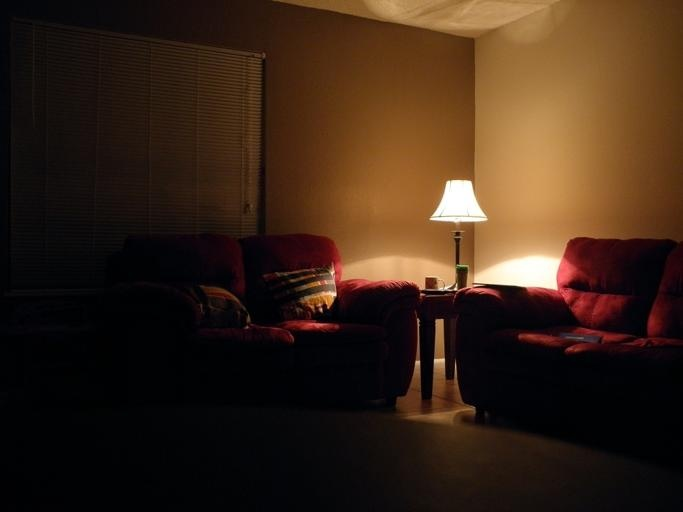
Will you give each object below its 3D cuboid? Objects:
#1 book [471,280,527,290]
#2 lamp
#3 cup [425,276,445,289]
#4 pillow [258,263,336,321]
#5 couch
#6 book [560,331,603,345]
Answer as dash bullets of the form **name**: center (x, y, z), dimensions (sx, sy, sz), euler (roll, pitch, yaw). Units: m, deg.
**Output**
- **book**: center (0.970, 0.183, 3.631), dimensions (0.284, 0.046, 0.401), euler (4, 2, -10)
- **lamp**: center (0.876, -0.169, 4.308), dimensions (0.533, 0.782, 0.568), euler (2, 5, 28)
- **cup**: center (0.664, 0.209, 4.189), dimensions (0.160, 0.117, 0.104), euler (1, 5, 31)
- **pillow**: center (-0.256, 0.234, 3.582), dimensions (0.358, 0.357, 0.111), euler (-3, -22, -25)
- **couch**: center (-0.493, 0.427, 3.414), dimensions (1.707, 0.968, 0.843), euler (0, 3, -26)
- **book**: center (1.263, 0.425, 3.028), dimensions (0.204, 0.024, 0.289), euler (4, 4, 26)
